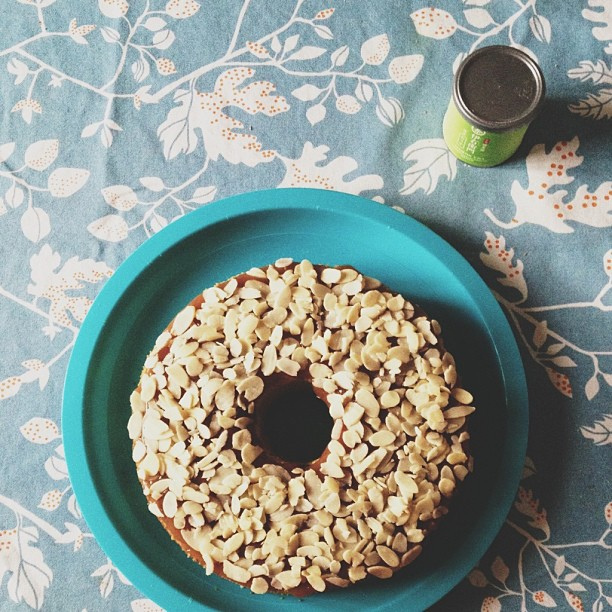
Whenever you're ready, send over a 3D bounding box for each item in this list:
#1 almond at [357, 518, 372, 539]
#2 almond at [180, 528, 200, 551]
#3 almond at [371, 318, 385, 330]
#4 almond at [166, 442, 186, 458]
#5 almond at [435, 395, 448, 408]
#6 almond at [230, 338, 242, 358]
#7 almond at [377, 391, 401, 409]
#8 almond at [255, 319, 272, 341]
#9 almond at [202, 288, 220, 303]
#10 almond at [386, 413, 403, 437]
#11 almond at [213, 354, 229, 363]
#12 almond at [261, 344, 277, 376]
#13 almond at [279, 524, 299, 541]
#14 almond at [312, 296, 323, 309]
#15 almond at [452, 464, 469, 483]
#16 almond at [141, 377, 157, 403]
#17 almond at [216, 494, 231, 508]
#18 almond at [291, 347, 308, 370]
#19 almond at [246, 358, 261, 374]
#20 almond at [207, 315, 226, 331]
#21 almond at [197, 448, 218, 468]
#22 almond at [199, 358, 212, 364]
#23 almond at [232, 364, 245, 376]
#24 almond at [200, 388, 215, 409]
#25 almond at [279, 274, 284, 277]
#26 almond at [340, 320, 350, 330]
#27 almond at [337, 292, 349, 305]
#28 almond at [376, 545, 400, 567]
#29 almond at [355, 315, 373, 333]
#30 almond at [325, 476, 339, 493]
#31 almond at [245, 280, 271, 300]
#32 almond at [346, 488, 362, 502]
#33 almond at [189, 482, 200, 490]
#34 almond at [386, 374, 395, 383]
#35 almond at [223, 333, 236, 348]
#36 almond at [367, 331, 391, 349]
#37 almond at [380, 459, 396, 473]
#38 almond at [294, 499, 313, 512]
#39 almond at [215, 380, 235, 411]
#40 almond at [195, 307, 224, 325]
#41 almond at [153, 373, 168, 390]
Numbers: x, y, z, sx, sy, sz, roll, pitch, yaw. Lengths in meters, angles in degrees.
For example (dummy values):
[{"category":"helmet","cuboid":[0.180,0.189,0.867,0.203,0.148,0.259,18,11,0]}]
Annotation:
[{"category":"almond","cuboid":[0.097,0.365,1.320,0.023,0.007,0.031,-19,89,-20]},{"category":"almond","cuboid":[-0.194,0.390,1.353,0.030,0.007,0.037,-15,95,24]},{"category":"almond","cuboid":[0.123,0.029,1.366,0.020,0.005,0.012,-42,85,-4]},{"category":"almond","cuboid":[-0.221,0.242,1.359,0.018,0.007,0.034,40,100,12]},{"category":"almond","cuboid":[0.230,0.160,1.346,0.021,0.005,0.019,-4,97,-11]},{"category":"almond","cuboid":[-0.120,0.070,1.365,0.028,0.007,0.026,19,101,20]},{"category":"almond","cuboid":[0.141,0.156,1.343,0.037,0.007,0.027,-16,81,-1]},{"category":"almond","cuboid":[-0.071,0.040,1.369,0.030,0.008,0.032,-6,86,-12]},{"category":"almond","cuboid":[-0.168,-0.017,1.402,0.027,0.007,0.023,-1,80,29]},{"category":"almond","cuboid":[0.147,0.197,1.338,0.027,0.007,0.033,-10,84,-2]},{"category":"almond","cuboid":[-0.146,0.089,1.364,0.019,0.005,0.015,0,87,-11]},{"category":"almond","cuboid":[-0.063,0.091,1.362,0.028,0.007,0.048,5,86,3]},{"category":"almond","cuboid":[-0.029,0.372,1.328,0.021,0.006,0.028,30,83,6]},{"category":"almond","cuboid":[0.019,-0.008,1.381,0.026,0.007,0.021,2,87,-2]},{"category":"almond","cuboid":[0.260,0.279,1.357,0.027,0.025,0.026,30,83,7]},{"category":"almond","cuboid":[-0.271,0.146,1.384,0.031,0.010,0.038,20,97,31]},{"category":"almond","cuboid":[-0.143,0.325,1.342,0.018,0.006,0.019,-16,89,5]},{"category":"almond","cuboid":[-0.012,0.088,1.362,0.030,0.007,0.038,-2,91,-8]},{"category":"almond","cuboid":[-0.086,0.101,1.354,0.021,0.006,0.025,12,86,-9]},{"category":"almond","cuboid":[-0.154,0.029,1.379,0.031,0.010,0.024,-5,81,-10]},{"category":"almond","cuboid":[-0.164,0.255,1.347,0.023,0.007,0.034,41,90,22]},{"category":"almond","cuboid":[-0.175,0.092,1.367,0.013,0.003,0.011,-4,100,1]},{"category":"almond","cuboid":[-0.114,0.108,1.361,0.024,0.005,0.019,-3,85,3]},{"category":"almond","cuboid":[-0.168,0.159,1.350,0.031,0.007,0.024,-10,89,5]},{"category":"almond","cuboid":[-0.043,-0.054,1.402,0.006,0.001,0.005,-3,63,3]},{"category":"almond","cuboid":[0.066,0.031,1.370,0.016,0.003,0.016,-1,90,-3]},{"category":"almond","cuboid":[0.064,-0.012,1.383,0.021,0.004,0.017,2,65,8]},{"category":"almond","cuboid":[0.137,0.410,1.323,0.026,0.008,0.040,-37,91,-6]},{"category":"almond","cuboid":[0.099,0.030,1.367,0.023,0.007,0.031,36,90,16]},{"category":"almond","cuboid":[0.044,0.296,1.334,0.018,0.006,0.031,-31,81,-3]},{"category":"almond","cuboid":[-0.091,-0.026,1.400,0.061,0.006,0.027,20,79,9]},{"category":"almond","cuboid":[0.080,0.312,1.323,0.015,0.006,0.024,-38,95,-16]},{"category":"almond","cuboid":[-0.189,0.302,1.349,0.014,0.003,0.011,3,81,-1]},{"category":"almond","cuboid":[0.143,0.121,1.348,0.012,0.003,0.013,-15,76,7]},{"category":"almond","cuboid":[-0.137,0.060,1.396,0.006,0.020,0.023,30,96,24]},{"category":"almond","cuboid":[0.123,0.056,1.330,0.034,0.007,0.029,-20,91,-1]},{"category":"almond","cuboid":[0.138,0.265,1.331,0.011,0.012,0.035,40,78,8]},{"category":"almond","cuboid":[-0.003,0.334,1.341,0.026,0.004,0.024,28,83,6]},{"category":"almond","cuboid":[-0.136,0.150,1.355,0.034,0.012,0.045,8,91,-7]},{"category":"almond","cuboid":[-0.170,0.017,1.387,0.037,0.009,0.030,-15,68,11]},{"category":"almond","cuboid":[-0.250,0.129,1.378,0.028,0.006,0.022,-7,84,24]}]
